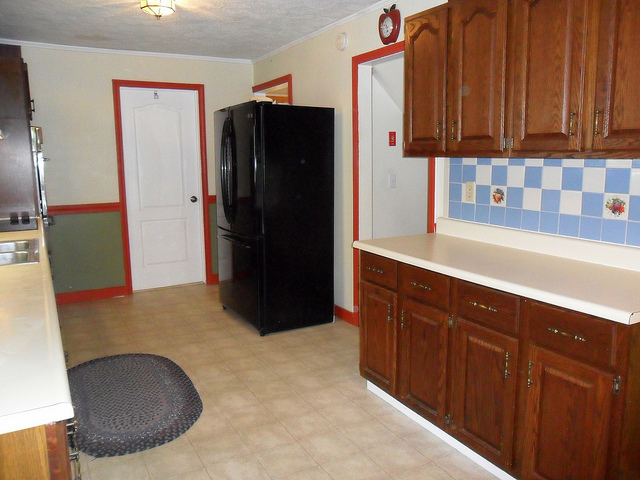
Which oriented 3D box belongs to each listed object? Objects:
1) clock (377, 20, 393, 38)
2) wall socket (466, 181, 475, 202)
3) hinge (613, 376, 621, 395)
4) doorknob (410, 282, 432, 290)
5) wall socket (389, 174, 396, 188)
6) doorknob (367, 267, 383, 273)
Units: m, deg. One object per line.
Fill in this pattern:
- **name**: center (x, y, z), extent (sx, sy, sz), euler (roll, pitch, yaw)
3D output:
- **clock**: center (0.513, -1.640, 3.766), extent (0.027, 0.126, 0.118), euler (-6, 4, -32)
- **wall socket**: center (1.017, -0.325, 3.246), extent (0.017, 0.140, 0.083), euler (-10, 16, -35)
- **hinge**: center (1.230, 0.600, 1.986), extent (0.024, 0.075, 0.009), euler (9, 16, 38)
- **doorknob**: center (0.579, 0.266, 2.766), extent (0.024, 0.031, 0.174), euler (-20, 19, -29)
- **wall socket**: center (0.690, -0.568, 4.599), extent (0.115, 0.177, 0.017), euler (-4, 4, -39)
- **doorknob**: center (0.350, 0.193, 3.096), extent (0.024, 0.024, 0.093), euler (23, -5, -38)
